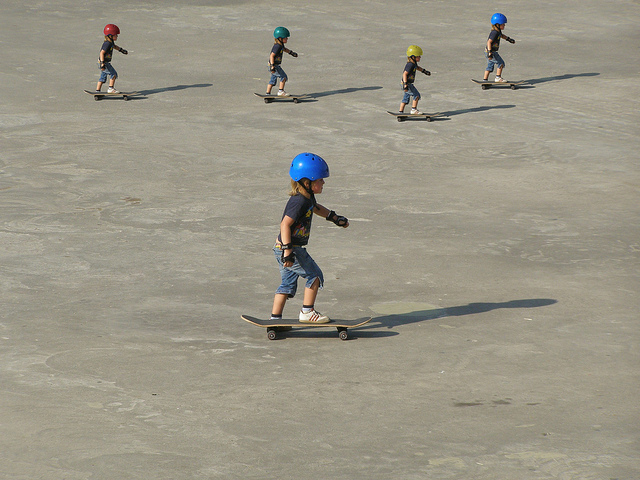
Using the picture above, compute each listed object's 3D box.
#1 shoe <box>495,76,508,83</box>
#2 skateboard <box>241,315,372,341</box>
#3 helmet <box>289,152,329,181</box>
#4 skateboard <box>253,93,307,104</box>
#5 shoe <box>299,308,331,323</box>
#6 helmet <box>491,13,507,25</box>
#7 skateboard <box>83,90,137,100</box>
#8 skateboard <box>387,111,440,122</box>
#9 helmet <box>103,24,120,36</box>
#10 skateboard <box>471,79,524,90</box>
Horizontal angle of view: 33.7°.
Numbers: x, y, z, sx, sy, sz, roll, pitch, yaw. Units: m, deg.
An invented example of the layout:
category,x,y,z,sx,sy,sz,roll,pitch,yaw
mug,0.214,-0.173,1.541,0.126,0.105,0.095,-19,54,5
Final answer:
category,x,y,z,sx,sy,sz,roll,pitch,yaw
shoe,4.567,-4.073,26.685,0.320,0.133,0.359,7,10,5
skateboard,-0.457,1.036,12.750,2.270,0.227,0.407,0,11,-1
helmet,-0.105,-0.910,12.721,0.551,0.272,0.317,18,27,2
skateboard,-0.936,-3.471,25.525,1.460,0.147,0.320,0,19,-7
shoe,-0.087,0.928,12.796,0.462,0.108,0.150,0,-1,5
helmet,4.496,-5.616,26.672,0.331,0.299,0.603,10,11,6
skateboard,-5.216,-3.508,25.317,1.672,0.173,0.306,0,29,-4
skateboard,2.243,-2.829,23.710,1.523,0.157,0.290,1,27,-2
helmet,-4.933,-5.021,25.135,0.311,0.200,0.365,2,-13,-38
skateboard,4.415,-3.990,26.749,1.605,0.159,0.307,2,28,4
